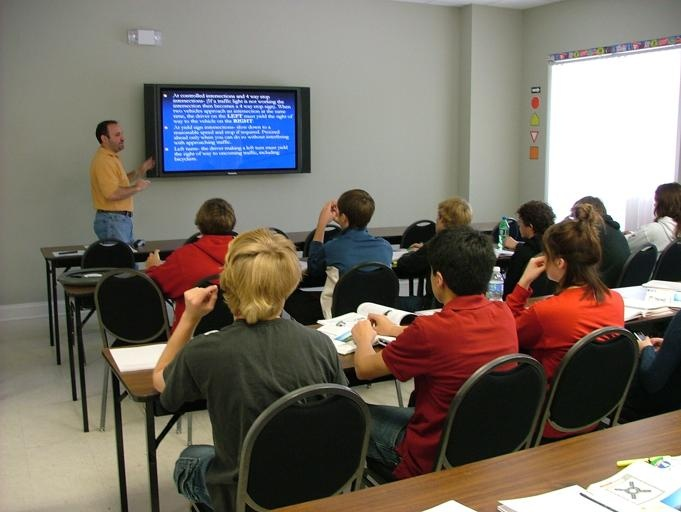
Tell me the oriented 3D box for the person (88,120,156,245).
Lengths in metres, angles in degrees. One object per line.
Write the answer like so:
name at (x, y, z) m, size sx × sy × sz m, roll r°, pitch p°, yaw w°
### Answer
person at (-2.201, -0.782, 5.254) m, size 0.515 × 1.661 × 0.608 m, roll -6°, pitch 26°, yaw -19°

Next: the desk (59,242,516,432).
desk at (-1.348, 0.680, 6.884) m, size 0.777 × 1.236 × 5.112 m, roll 22°, pitch 14°, yaw 19°

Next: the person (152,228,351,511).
person at (-0.344, 0.413, 1.768) m, size 0.664 × 1.014 × 0.386 m, roll 5°, pitch 13°, yaw 23°
